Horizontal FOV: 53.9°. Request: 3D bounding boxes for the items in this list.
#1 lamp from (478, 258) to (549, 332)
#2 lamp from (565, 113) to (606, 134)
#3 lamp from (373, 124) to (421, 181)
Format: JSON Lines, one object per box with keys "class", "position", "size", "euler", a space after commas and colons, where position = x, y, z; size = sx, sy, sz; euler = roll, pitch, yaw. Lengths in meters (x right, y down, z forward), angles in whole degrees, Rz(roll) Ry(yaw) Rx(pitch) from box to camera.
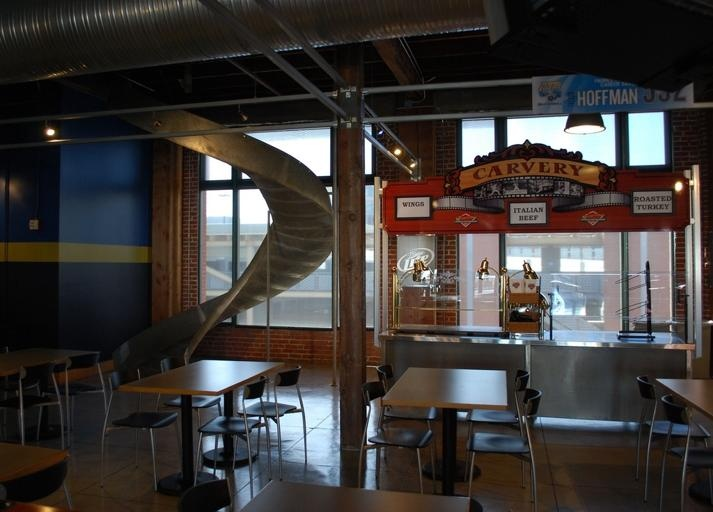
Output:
{"class": "lamp", "position": [1.807, 0.478, 7.746], "size": [0.831, 0.919, 0.675], "euler": [-1, -1, 14]}
{"class": "lamp", "position": [2.484, -1.423, 7.606], "size": [0.343, 0.163, 0.333], "euler": [-1, 2, 9]}
{"class": "lamp", "position": [0.600, -1.450, 9.788], "size": [0.272, 0.300, 1.255], "euler": [-44, -22, 7]}
